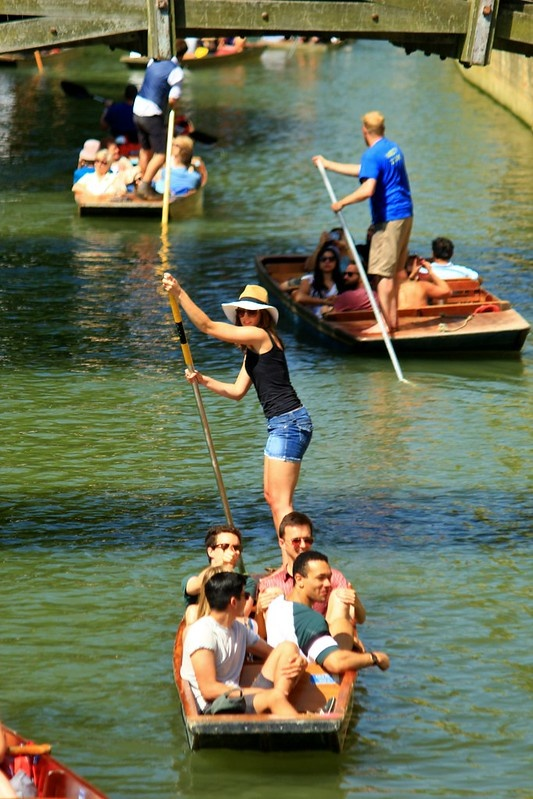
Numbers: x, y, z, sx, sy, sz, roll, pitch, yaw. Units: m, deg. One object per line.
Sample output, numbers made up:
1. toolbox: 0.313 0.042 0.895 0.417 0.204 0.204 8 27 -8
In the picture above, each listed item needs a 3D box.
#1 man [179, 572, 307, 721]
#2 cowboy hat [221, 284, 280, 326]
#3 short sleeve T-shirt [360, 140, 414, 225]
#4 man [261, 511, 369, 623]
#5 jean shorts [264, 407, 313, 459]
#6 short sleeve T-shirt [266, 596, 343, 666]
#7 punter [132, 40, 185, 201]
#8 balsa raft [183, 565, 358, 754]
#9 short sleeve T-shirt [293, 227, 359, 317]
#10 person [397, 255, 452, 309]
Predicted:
1. man: -0.062 1.179 6.032 0.713 0.708 0.483 0 0 19
2. cowboy hat: -0.101 -0.579 7.520 0.258 0.134 0.285 2 -22 8
3. short sleeve T-shirt: 1.065 -1.934 11.676 0.548 0.821 0.396 -6 25 -16
4. man: 0.256 0.953 7.261 0.543 0.696 0.416 -9 -3 -33
5. jean shorts: 0.117 0.226 7.745 0.285 0.355 0.391 10 -13 -6
6. short sleeve T-shirt: 0.176 1.148 6.368 0.088 0.146 0.317 -17 19 -33
7. punter: -1.548 -3.797 17.518 0.588 2.119 0.731 6 29 -6
8. balsa raft: -0.060 1.390 6.600 0.905 0.355 1.627 2 12 -4
9. short sleeve T-shirt: 0.586 -1.337 13.334 0.621 0.233 1.007 -4 28 4
10. person: 1.549 -1.161 12.998 0.462 0.638 0.333 14 55 7
